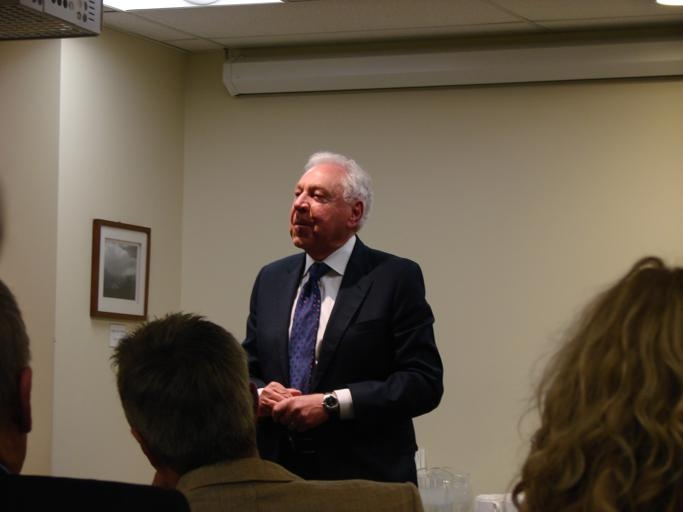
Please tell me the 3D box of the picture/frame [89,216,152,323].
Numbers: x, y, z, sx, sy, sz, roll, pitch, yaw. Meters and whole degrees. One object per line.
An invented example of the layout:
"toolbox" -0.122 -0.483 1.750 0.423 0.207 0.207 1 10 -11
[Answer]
"picture/frame" -1.336 0.087 4.095 0.037 0.621 0.517 -4 -10 26

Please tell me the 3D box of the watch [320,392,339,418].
"watch" -0.053 0.538 2.481 0.051 0.092 0.082 -13 -21 -9
